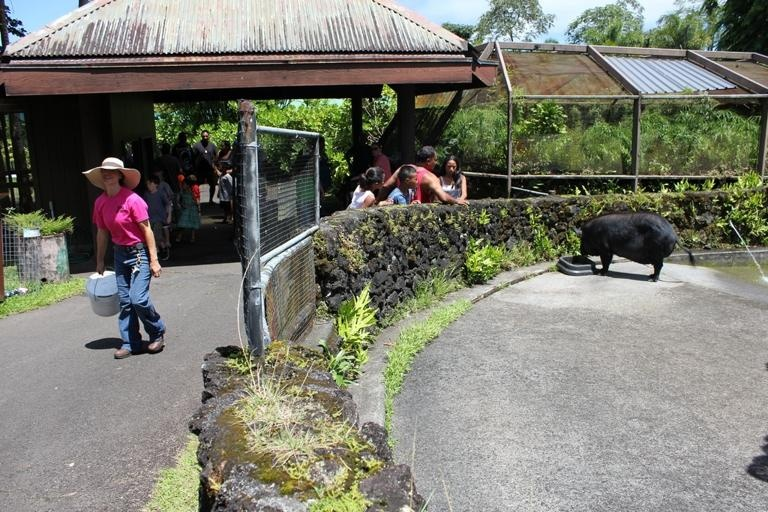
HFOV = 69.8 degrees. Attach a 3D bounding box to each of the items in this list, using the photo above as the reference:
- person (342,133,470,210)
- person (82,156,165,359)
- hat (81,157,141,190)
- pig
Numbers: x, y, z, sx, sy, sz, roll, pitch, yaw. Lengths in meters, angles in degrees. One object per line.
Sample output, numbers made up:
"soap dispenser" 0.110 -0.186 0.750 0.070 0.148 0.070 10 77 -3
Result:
"person" 0.672 -1.432 9.945 1.679 1.080 0.704 -10 15 -32
"person" -3.321 0.028 7.035 0.782 2.519 0.879 -3 1 -6
"hat" -3.433 -1.149 6.918 0.433 0.199 0.505 0 -5 -36
"pig" 4.817 -0.337 10.947 1.781 1.615 1.514 -4 12 -10
